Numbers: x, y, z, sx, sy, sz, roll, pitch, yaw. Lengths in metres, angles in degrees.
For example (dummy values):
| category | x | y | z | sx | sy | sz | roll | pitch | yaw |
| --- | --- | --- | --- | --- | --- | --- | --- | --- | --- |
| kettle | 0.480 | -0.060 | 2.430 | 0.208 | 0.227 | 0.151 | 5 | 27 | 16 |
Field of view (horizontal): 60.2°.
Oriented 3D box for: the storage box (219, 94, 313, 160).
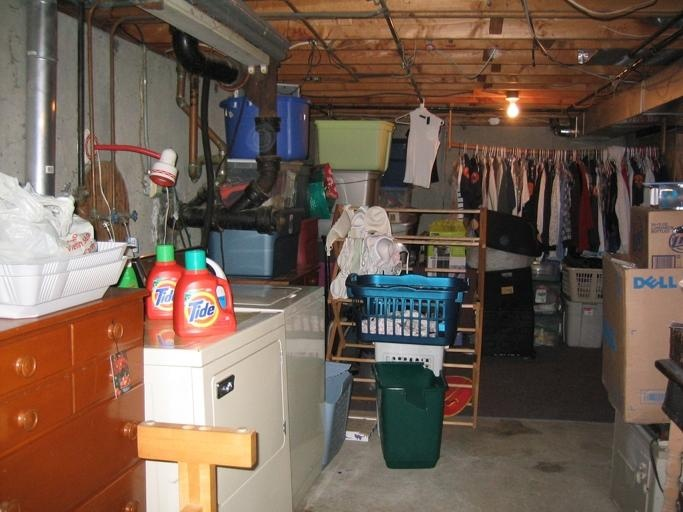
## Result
| category | x | y | z | sx | sy | sz | roll | pitch | yaw |
| --- | --- | --- | --- | --- | --- | --- | --- | --- | --- |
| storage box | -0.499 | -0.877 | 3.982 | 0.504 | 0.373 | 0.525 | 1 | 10 | 9 |

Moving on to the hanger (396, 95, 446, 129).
| category | x | y | z | sx | sy | sz | roll | pitch | yaw |
| --- | --- | --- | --- | --- | --- | --- | --- | --- | --- |
| hanger | 0.880 | -1.592 | 6.445 | 0.479 | 0.342 | 0.027 | 1 | -18 | 0 |

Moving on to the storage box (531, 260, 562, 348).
| category | x | y | z | sx | sy | sz | roll | pitch | yaw |
| --- | --- | --- | --- | --- | --- | --- | --- | --- | --- |
| storage box | 2.127 | 0.482 | 6.075 | 0.356 | 0.765 | 0.688 | 5 | 10 | 20 |

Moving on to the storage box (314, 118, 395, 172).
| category | x | y | z | sx | sy | sz | roll | pitch | yaw |
| --- | --- | --- | --- | --- | --- | --- | --- | --- | --- |
| storage box | 0.113 | -1.021 | 5.504 | 0.604 | 0.371 | 0.448 | 3 | 7 | 9 |

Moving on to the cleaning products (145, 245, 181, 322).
| category | x | y | z | sx | sy | sz | roll | pitch | yaw |
| --- | --- | --- | --- | --- | --- | --- | --- | --- | --- |
| cleaning products | -0.770 | 0.103 | 2.575 | 0.170 | 0.356 | 0.121 | -3 | 26 | -25 |

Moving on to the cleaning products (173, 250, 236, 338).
| category | x | y | z | sx | sy | sz | roll | pitch | yaw |
| --- | --- | --- | --- | --- | --- | --- | --- | --- | --- |
| cleaning products | -0.544 | 0.147 | 2.375 | 0.237 | 0.353 | 0.114 | -3 | 15 | -25 |

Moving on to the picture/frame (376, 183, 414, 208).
| category | x | y | z | sx | sy | sz | roll | pitch | yaw |
| --- | --- | --- | --- | --- | --- | --- | --- | --- | --- |
| picture/frame | 0.629 | -0.682 | 6.835 | 0.371 | 0.250 | 0.392 | 1 | 5 | 1 |

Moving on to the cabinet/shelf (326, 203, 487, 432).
| category | x | y | z | sx | sy | sz | roll | pitch | yaw |
| --- | --- | --- | --- | --- | --- | --- | --- | --- | --- |
| cabinet/shelf | 0.436 | 0.457 | 4.029 | 1.278 | 1.838 | 1.020 | 1 | 15 | 9 |

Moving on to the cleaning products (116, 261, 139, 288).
| category | x | y | z | sx | sy | sz | roll | pitch | yaw |
| --- | --- | --- | --- | --- | --- | --- | --- | --- | --- |
| cleaning products | -0.958 | 0.084 | 2.636 | 0.077 | 0.110 | 0.059 | 4 | 10 | 15 |

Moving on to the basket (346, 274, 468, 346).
| category | x | y | z | sx | sy | sz | roll | pitch | yaw |
| --- | --- | --- | --- | --- | --- | --- | --- | --- | --- |
| basket | 0.383 | 0.328 | 3.540 | 0.722 | 0.412 | 0.228 | 3 | 10 | 12 |

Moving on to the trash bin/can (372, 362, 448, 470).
| category | x | y | z | sx | sy | sz | roll | pitch | yaw |
| --- | --- | --- | --- | --- | --- | --- | --- | --- | --- |
| trash bin/can | 0.404 | 0.963 | 3.553 | 0.414 | 0.559 | 0.325 | 2 | 10 | 2 |

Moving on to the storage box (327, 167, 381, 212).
| category | x | y | z | sx | sy | sz | roll | pitch | yaw |
| --- | --- | --- | --- | --- | --- | --- | --- | --- | --- |
| storage box | 0.132 | -0.627 | 5.568 | 0.353 | 0.317 | 0.462 | 2 | 7 | 13 |
